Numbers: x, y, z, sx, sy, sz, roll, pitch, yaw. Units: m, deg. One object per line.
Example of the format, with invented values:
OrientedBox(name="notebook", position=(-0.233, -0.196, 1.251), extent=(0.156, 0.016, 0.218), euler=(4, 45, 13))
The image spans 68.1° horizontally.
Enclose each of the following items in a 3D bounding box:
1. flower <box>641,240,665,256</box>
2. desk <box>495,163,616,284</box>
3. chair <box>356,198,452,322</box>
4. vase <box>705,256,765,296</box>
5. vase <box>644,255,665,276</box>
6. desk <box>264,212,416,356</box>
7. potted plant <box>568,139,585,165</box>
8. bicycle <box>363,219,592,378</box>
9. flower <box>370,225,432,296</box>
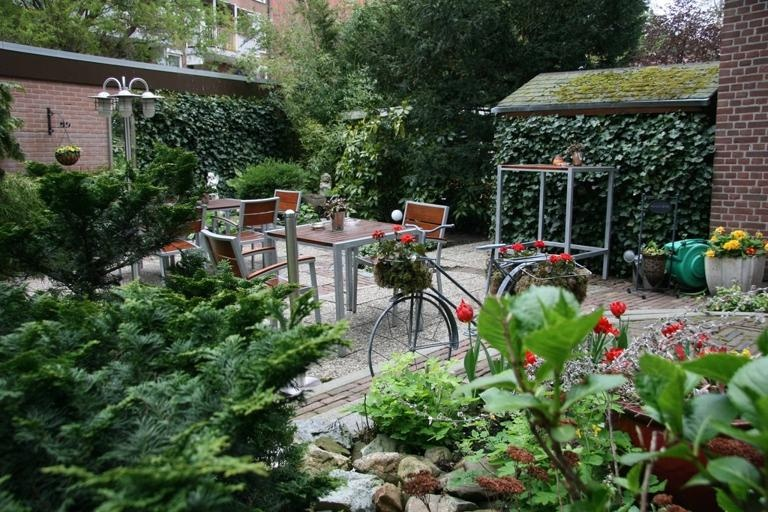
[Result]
OrientedBox(name="flower", position=(3.263, -0.095, 6.868), extent=(0.234, 0.105, 0.232), euler=(12, 26, 42))
OrientedBox(name="desk", position=(2.255, -0.457, 7.219), extent=(1.431, 1.409, 1.018), euler=(12, 19, 41))
OrientedBox(name="chair", position=(0.240, -0.032, 6.736), extent=(1.158, 1.613, 1.159), euler=(-8, 12, -44))
OrientedBox(name="vase", position=(3.878, 0.244, 6.330), extent=(0.491, 0.349, 0.481), euler=(1, -1, -12))
OrientedBox(name="vase", position=(3.224, 0.104, 6.788), extent=(0.218, 0.222, 0.222), euler=(11, 15, 35))
OrientedBox(name="desk", position=(-0.530, 0.263, 5.515), extent=(1.370, 1.293, 1.379), euler=(7, 11, 41))
OrientedBox(name="potted plant", position=(2.578, -1.378, 7.690), extent=(0.196, 0.331, 0.565), euler=(0, 7, 16))
OrientedBox(name="bicycle", position=(0.616, 0.313, 5.072), extent=(2.015, 1.258, 0.874), euler=(-8, 7, -18))
OrientedBox(name="flower", position=(0.133, 0.066, 4.311), extent=(0.428, 0.442, 0.269), euler=(-1, 7, 10))
